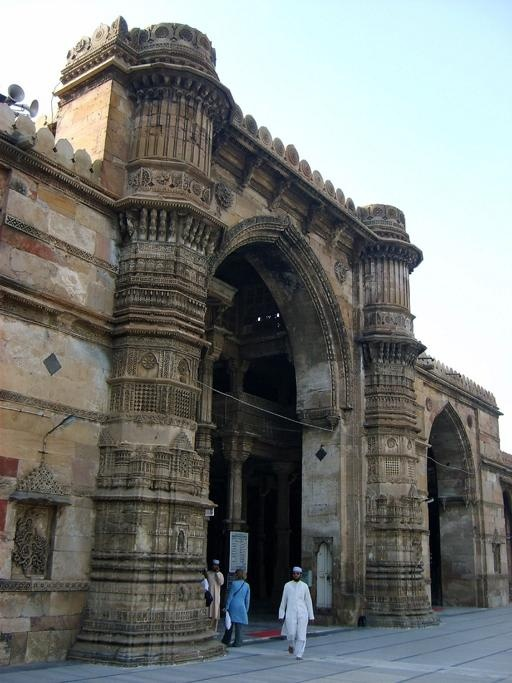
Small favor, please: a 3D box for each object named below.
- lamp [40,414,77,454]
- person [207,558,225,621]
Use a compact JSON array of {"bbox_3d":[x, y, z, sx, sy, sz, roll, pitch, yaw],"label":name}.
[{"bbox_3d":[-2.496,1.167,7.871,0.158,0.548,0.439,-6,-19,20],"label":"lamp"},{"bbox_3d":[-0.731,4.237,10.508,0.350,0.980,0.337,-4,-21,21],"label":"person"}]
